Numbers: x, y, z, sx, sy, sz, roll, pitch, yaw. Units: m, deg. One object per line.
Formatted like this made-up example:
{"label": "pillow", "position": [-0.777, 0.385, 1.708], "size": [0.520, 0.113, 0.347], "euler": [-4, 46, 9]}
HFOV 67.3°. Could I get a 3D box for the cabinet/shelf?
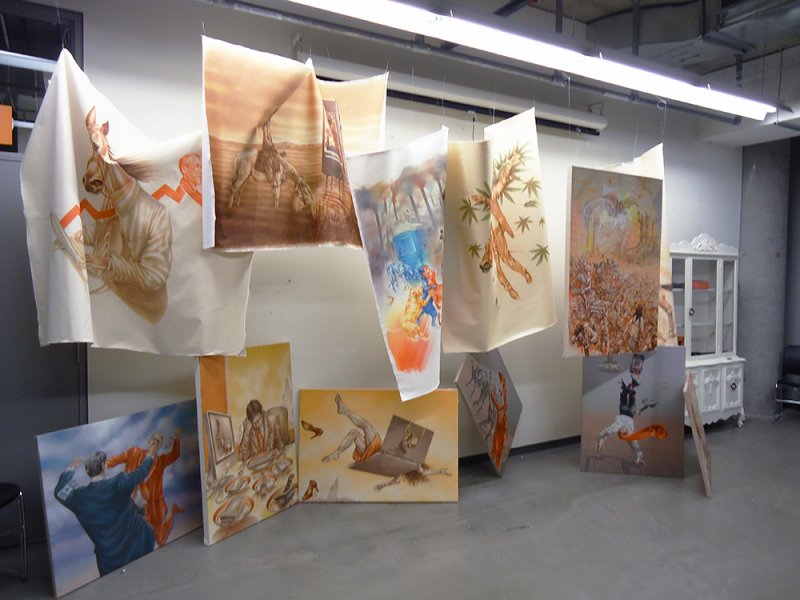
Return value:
{"label": "cabinet/shelf", "position": [3.487, 0.366, 6.761], "size": [1.125, 2.198, 0.505], "euler": [-6, 11, -36]}
